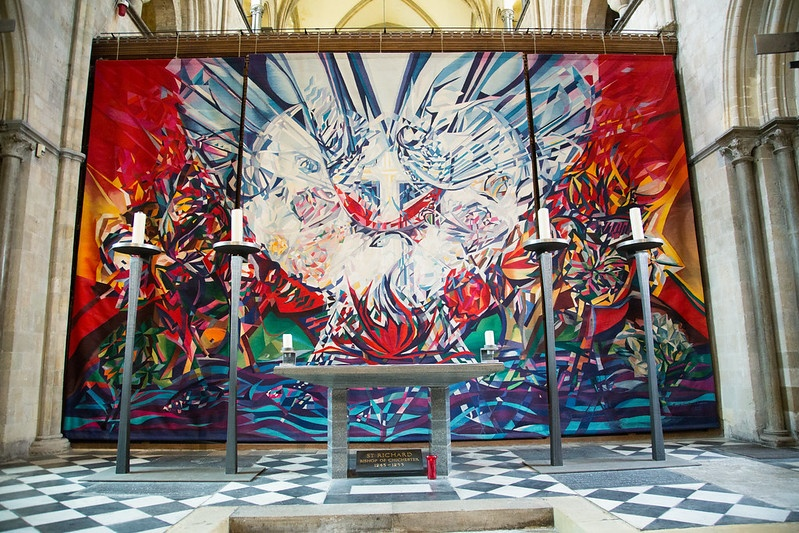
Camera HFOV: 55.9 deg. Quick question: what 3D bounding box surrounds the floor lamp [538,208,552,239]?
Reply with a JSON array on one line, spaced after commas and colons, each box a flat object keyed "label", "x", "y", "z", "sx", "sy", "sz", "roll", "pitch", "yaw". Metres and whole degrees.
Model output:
[{"label": "floor lamp", "x": 1.919, "y": -0.549, "z": 10.017, "sx": 0.148, "sy": 0.419, "sz": 0.111, "roll": -6, "pitch": -14, "yaw": 9}]

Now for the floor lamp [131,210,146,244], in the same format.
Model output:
[{"label": "floor lamp", "x": -3.479, "y": -0.496, "z": 10.018, "sx": 0.152, "sy": 0.500, "sz": 0.309, "roll": 0, "pitch": -14, "yaw": -13}]

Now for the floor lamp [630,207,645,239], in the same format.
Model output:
[{"label": "floor lamp", "x": 3.206, "y": -0.563, "z": 10.160, "sx": 0.132, "sy": 0.493, "sz": 0.373, "roll": -7, "pitch": -14, "yaw": 16}]

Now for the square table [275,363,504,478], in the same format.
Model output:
[{"label": "square table", "x": -0.116, "y": 1.954, "z": 9.574, "sx": 2.510, "sy": 1.472, "sz": 1.362, "roll": -4, "pitch": -13, "yaw": 5}]

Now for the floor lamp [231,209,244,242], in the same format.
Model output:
[{"label": "floor lamp", "x": -2.143, "y": -0.532, "z": 9.923, "sx": 0.137, "sy": 0.471, "sz": 0.130, "roll": 0, "pitch": -14, "yaw": -15}]
